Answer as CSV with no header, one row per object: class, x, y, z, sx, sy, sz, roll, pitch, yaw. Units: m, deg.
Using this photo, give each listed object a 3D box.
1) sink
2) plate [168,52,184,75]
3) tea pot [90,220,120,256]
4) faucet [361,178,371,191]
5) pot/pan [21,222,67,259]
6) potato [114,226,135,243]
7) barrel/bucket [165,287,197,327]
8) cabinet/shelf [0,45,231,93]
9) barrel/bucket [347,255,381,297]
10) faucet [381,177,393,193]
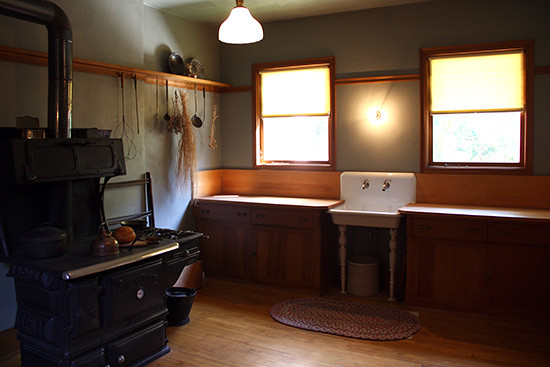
sink,1.214,0.170,4.891,1.052,0.656,0.727,1,3,26
plate,-1.339,-1.627,5.229,0.057,0.261,0.260,-3,0,27
tea pot,-1.488,0.494,3.402,0.202,0.225,0.218,0,-2,0
faucet,1.201,-0.007,5.120,0.094,0.123,0.051,28,8,22
pot/pan,-1.924,0.485,3.189,0.300,0.223,0.273,-1,2,-19
potato,-1.388,0.467,3.573,0.151,0.094,0.153,4,6,9
barrel/bucket,-1.033,1.360,4.379,0.386,0.348,0.381,2,-2,0
cabinet/shelf,-1.692,-1.312,4.571,0.243,0.391,2.689,6,14,33
barrel/bucket,1.153,1.167,5.053,0.441,0.383,0.414,0,5,0
faucet,1.459,0.013,5.058,0.099,0.154,0.156,1,-1,45
